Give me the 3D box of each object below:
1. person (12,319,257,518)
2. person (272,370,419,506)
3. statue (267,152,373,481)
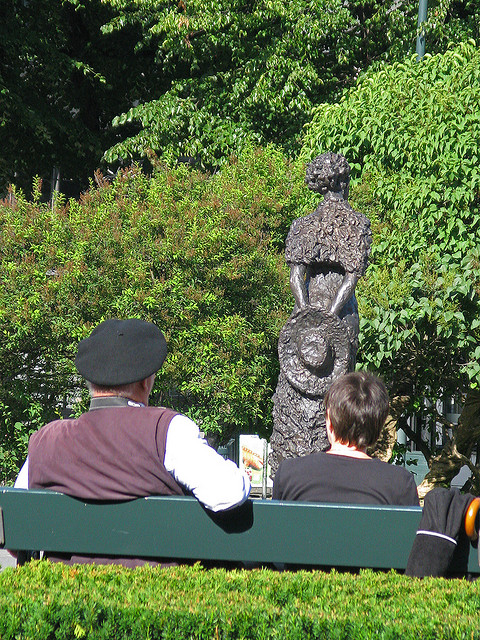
[{"bbox_3d":[-0.692,0.580,7.388,1.404,1.279,0.842,-6,-17,19],"label":"person"},{"bbox_3d":[0.588,0.632,7.312,0.756,0.992,0.524,2,44,0],"label":"person"},{"bbox_3d":[0.588,-0.011,9.456,0.616,1.976,0.577,6,2,7],"label":"statue"}]
